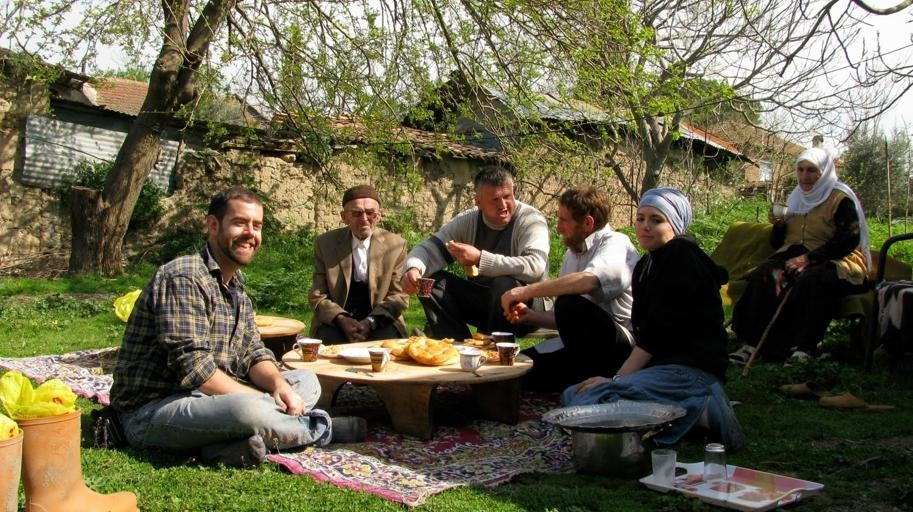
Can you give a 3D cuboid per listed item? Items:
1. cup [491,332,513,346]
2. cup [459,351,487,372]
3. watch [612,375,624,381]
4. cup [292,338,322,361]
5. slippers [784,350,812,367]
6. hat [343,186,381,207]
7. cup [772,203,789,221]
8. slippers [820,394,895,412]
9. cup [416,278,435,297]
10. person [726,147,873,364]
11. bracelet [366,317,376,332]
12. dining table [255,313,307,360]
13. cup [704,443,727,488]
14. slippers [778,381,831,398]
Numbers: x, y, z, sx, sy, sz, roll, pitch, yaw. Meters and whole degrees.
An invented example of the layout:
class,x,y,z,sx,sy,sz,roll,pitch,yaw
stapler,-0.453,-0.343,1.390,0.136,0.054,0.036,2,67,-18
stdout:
class,x,y,z,sx,sy,sz,roll,pitch,yaw
cup,0.518,0.925,7.469,0.151,0.108,0.168,-2,-3,41
cup,0.166,1.065,6.843,0.264,0.152,0.212,4,-5,-42
watch,1.605,1.221,6.702,0.078,0.045,0.068,-6,-15,-31
cup,-1.569,0.969,7.097,0.265,0.166,0.271,0,3,0
slippers,4.219,1.285,8.340,0.224,0.098,0.261,0,8,34
hat,-1.145,-0.747,8.317,0.341,0.151,0.317,-1,4,13
cup,4.327,-0.582,9.047,0.234,0.148,0.213,3,-5,0
slippers,4.272,1.598,7.240,0.414,0.095,0.279,-4,-4,9
cup,-0.378,0.390,8.103,0.228,0.169,0.227,3,-10,1
person,4.463,-0.032,8.626,1.524,2.978,0.981,6,-4,20
bracelet,-0.985,0.819,8.032,0.115,0.146,0.159,1,-35,-3
dining table,-2.264,0.973,8.624,0.769,0.412,0.703,-2,14,-21
cup,2.320,1.873,5.997,0.214,0.372,0.197,7,-3,0
slippers,3.938,1.517,7.634,0.406,0.119,0.197,0,-2,9
